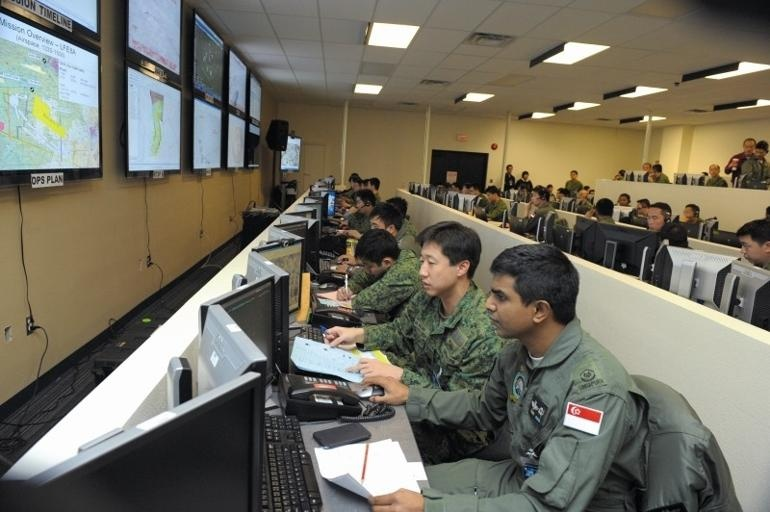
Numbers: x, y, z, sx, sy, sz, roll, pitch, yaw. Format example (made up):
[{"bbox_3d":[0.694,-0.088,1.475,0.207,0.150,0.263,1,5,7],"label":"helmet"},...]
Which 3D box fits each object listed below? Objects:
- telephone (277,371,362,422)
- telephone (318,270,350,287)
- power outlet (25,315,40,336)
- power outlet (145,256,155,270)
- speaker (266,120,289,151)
[{"bbox_3d":[-0.265,0.559,1.831,0.208,0.092,0.218,-3,12,-12],"label":"telephone"},{"bbox_3d":[-0.419,0.178,3.617,0.140,0.060,0.144,6,6,30],"label":"telephone"},{"bbox_3d":[-2.383,0.469,3.089,0.036,0.099,0.073,4,14,3],"label":"power outlet"},{"bbox_3d":[-2.399,0.062,4.668,0.084,0.086,0.062,5,7,5],"label":"power outlet"},{"bbox_3d":[-2.352,-2.613,9.914,0.329,0.624,0.513,6,12,19],"label":"speaker"}]
